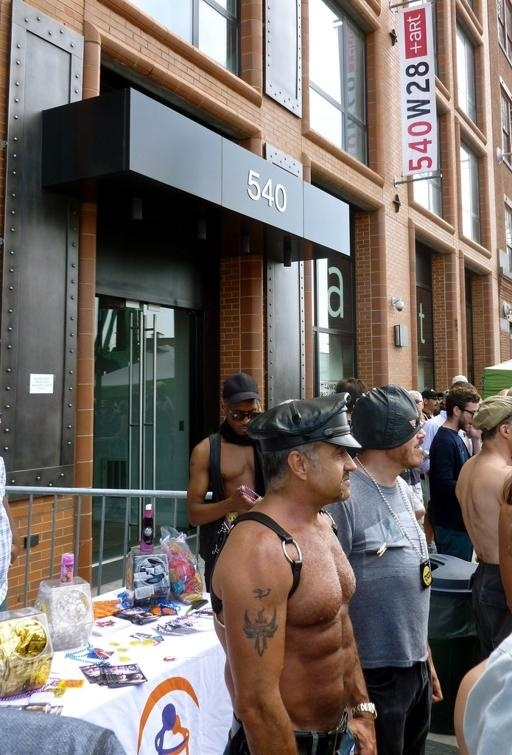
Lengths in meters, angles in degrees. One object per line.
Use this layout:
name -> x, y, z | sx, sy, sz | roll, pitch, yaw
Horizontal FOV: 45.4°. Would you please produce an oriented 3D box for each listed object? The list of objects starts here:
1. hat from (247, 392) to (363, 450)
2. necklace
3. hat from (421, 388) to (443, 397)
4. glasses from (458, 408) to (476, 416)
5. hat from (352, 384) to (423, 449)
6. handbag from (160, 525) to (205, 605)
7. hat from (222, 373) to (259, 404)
hat -> 0.127, 0.126, 1.690 | 0.204, 0.111, 0.180 | -5, 3, -2
necklace -> 0.508, 0.563, 2.554 | 0.075, 0.455, 0.241 | -30, -6, 33
hat -> 3.235, 0.291, 11.414 | 0.343, 0.212, 0.242 | -15, -6, 26
glasses -> 1.868, 0.311, 5.443 | 0.149, 0.050, 0.154 | 2, -11, -29
hat -> 0.541, 0.158, 2.612 | 0.249, 0.261, 0.263 | -3, 5, -12
handbag -> -0.366, 0.861, 2.753 | 0.123, 0.334, 0.198 | -17, -13, 34
hat -> -0.101, 0.080, 3.678 | 0.138, 0.123, 0.210 | 0, 0, -12
